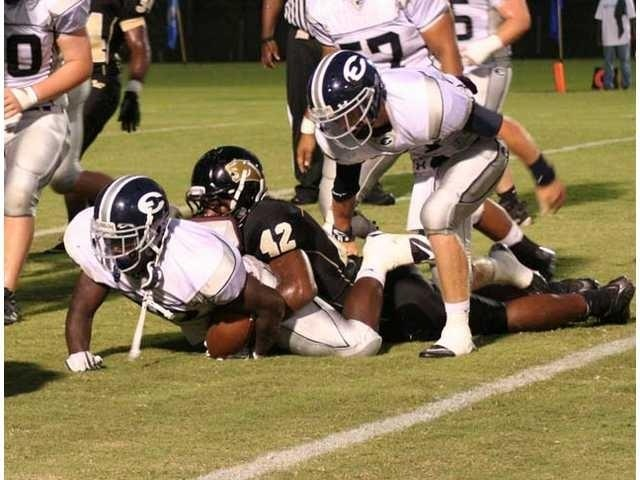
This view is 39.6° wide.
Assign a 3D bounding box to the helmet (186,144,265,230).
[{"bbox_3d":[-0.452,-0.258,4.262,0.323,0.359,0.414,-3,22,34],"label":"helmet"}]

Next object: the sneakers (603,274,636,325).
[{"bbox_3d":[1.466,0.297,4.394,0.151,0.232,0.095,6,-2,44],"label":"sneakers"}]

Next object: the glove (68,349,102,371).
[{"bbox_3d":[-1.014,0.522,3.850,0.093,0.046,0.117,3,-1,0],"label":"glove"}]

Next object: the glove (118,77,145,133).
[{"bbox_3d":[-1.382,-0.980,6.537,0.193,0.363,0.113,21,19,28],"label":"glove"}]

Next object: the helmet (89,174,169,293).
[{"bbox_3d":[-0.767,-0.009,3.589,0.301,0.449,0.175,-5,14,-15],"label":"helmet"}]

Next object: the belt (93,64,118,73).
[{"bbox_3d":[-1.474,-1.174,6.134,0.094,0.045,0.121,0,3,8],"label":"belt"}]

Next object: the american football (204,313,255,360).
[{"bbox_3d":[-0.409,0.425,3.929,0.180,0.125,0.296,-2,-11,-44],"label":"american football"}]

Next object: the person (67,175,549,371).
[{"bbox_3d":[-0.340,0.188,4.134,1.768,0.696,0.827,4,5,-39],"label":"person"}]

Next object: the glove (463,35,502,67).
[{"bbox_3d":[0.926,-1.066,5.153,0.241,0.131,0.093,-29,-25,-17],"label":"glove"}]

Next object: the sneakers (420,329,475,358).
[{"bbox_3d":[0.577,0.471,4.026,0.248,0.147,0.099,-2,-4,-9],"label":"sneakers"}]

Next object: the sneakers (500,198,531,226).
[{"bbox_3d":[1.246,-0.174,5.735,0.067,0.178,0.126,-43,-16,-19],"label":"sneakers"}]

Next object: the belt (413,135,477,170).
[{"bbox_3d":[0.559,-0.370,4.069,0.215,0.091,0.161,-15,13,42],"label":"belt"}]

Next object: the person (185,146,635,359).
[{"bbox_3d":[0.489,0.078,4.484,2.181,0.930,0.877,0,-12,-25],"label":"person"}]

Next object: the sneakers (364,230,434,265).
[{"bbox_3d":[0.381,0.037,4.202,0.265,0.097,0.142,3,5,-2],"label":"sneakers"}]

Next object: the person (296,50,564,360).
[{"bbox_3d":[0.478,-0.190,4.190,1.120,1.441,0.723,-12,15,-22],"label":"person"}]
